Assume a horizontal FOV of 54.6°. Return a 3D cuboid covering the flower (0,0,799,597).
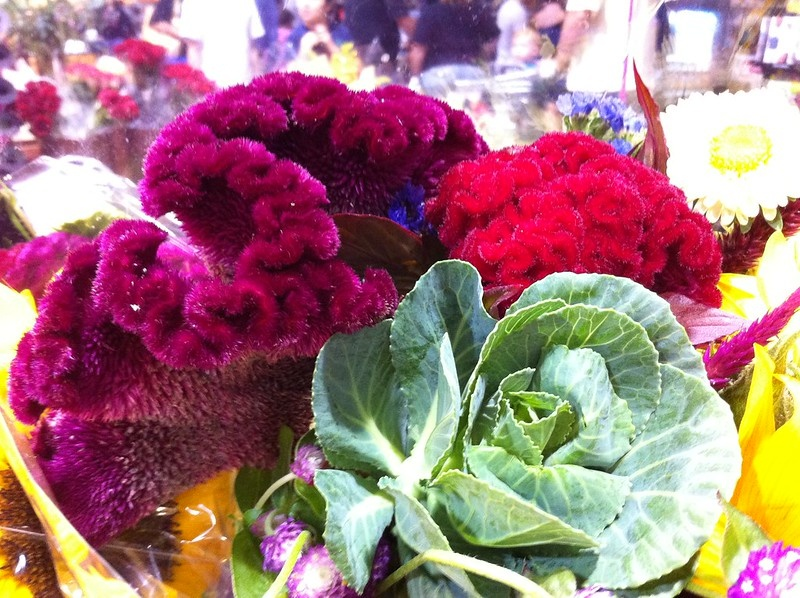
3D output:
[{"bbox_3d":[0.050,0.194,1.340,0.910,0.458,0.919,-29,59,-7],"label":"flower"}]
